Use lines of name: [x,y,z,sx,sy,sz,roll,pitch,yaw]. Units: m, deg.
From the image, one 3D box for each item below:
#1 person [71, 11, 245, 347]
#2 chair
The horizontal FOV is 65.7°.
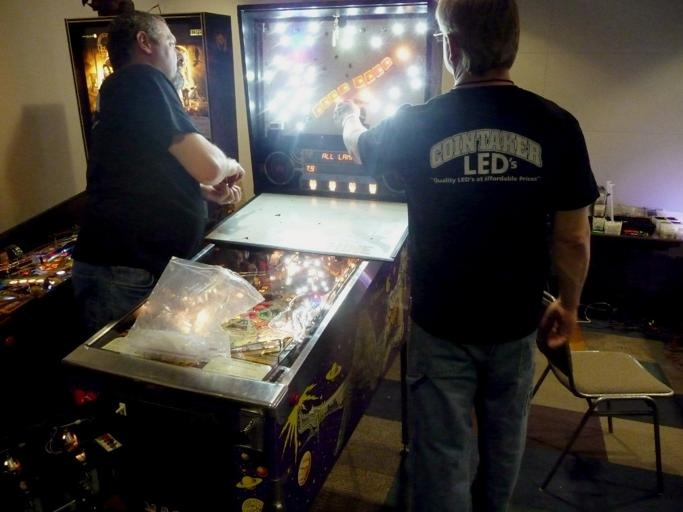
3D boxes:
person: [-0.918,-0.371,2.543,0.848,1.495,0.419,-3,20,-13]
chair: [1.317,0.640,2.800,0.739,0.991,0.720,3,13,18]
